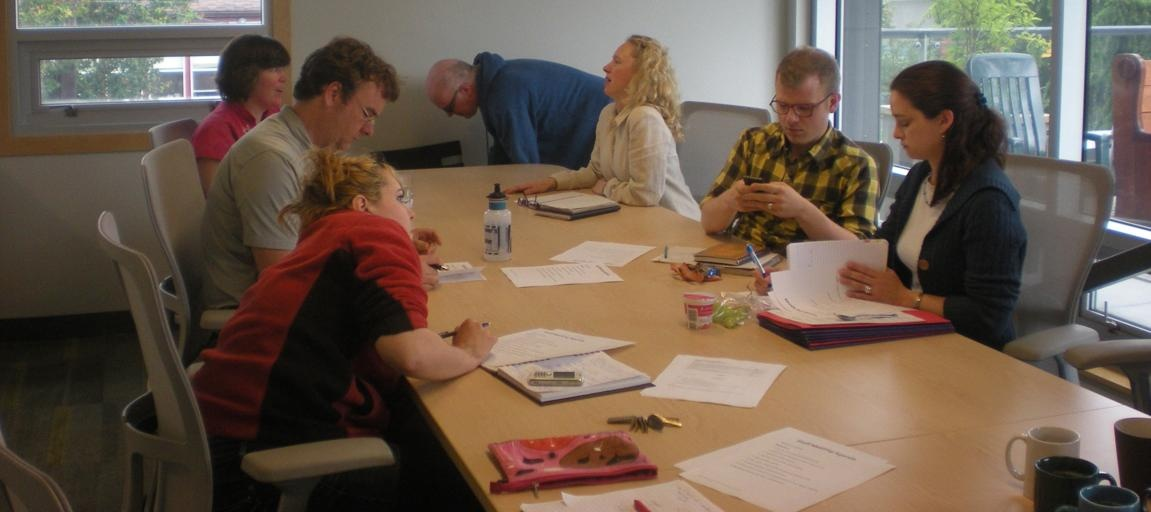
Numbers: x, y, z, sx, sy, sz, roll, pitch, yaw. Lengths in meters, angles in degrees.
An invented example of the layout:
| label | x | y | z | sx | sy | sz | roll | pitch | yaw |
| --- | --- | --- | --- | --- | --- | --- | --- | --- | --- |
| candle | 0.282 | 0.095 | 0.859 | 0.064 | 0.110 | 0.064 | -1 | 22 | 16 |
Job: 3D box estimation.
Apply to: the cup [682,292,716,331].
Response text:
| label | x | y | z | sx | sy | sz | roll | pitch | yaw |
| --- | --- | --- | --- | --- | --- | --- | --- | --- | --- |
| cup | 0.666 | 0.304 | 4.067 | 0.214 | 0.138 | 0.194 | -3 | 8 | -22 |

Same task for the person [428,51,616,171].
| label | x | y | z | sx | sy | sz | roll | pitch | yaw |
| --- | --- | --- | --- | --- | --- | --- | --- | --- | --- |
| person | -0.426 | -1.271 | 6.588 | 1.907 | 0.904 | 0.822 | 10 | 25 | -13 |

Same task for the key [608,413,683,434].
| label | x | y | z | sx | sy | sz | roll | pitch | yaw |
| --- | --- | --- | --- | --- | --- | --- | --- | --- | --- |
| key | 0.337 | 0.797 | 3.530 | 0.392 | 0.083 | 0.112 | 2 | -2 | 0 |

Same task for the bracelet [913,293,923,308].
| label | x | y | z | sx | sy | sz | roll | pitch | yaw |
| --- | --- | --- | --- | --- | --- | --- | --- | --- | --- |
| bracelet | 1.931 | 0.257 | 4.176 | 0.078 | 0.063 | 0.067 | -5 | 12 | -2 |

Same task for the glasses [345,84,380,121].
| label | x | y | z | sx | sy | sz | roll | pitch | yaw |
| --- | --- | --- | --- | --- | --- | --- | --- | --- | --- |
| glasses | -1.311 | -0.935 | 4.595 | 0.078 | 0.191 | 0.206 | -16 | -1 | 5 |

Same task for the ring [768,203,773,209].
| label | x | y | z | sx | sy | sz | roll | pitch | yaw |
| --- | --- | --- | --- | --- | --- | --- | --- | --- | --- |
| ring | 1.210 | -0.306 | 4.601 | 0.033 | 0.026 | 0.008 | 1 | 13 | 22 |

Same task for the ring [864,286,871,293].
| label | x | y | z | sx | sy | sz | roll | pitch | yaw |
| --- | --- | --- | --- | --- | --- | --- | --- | --- | --- |
| ring | 1.626 | 0.193 | 4.119 | 0.038 | 0.029 | 0.034 | -1 | 7 | 6 |
